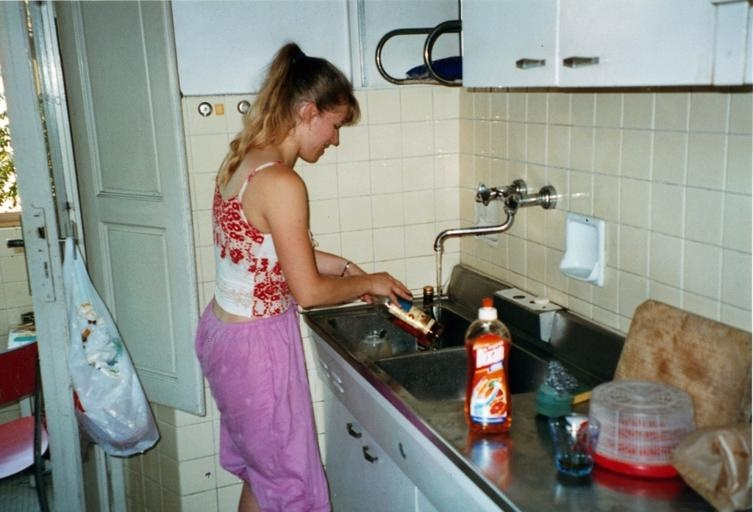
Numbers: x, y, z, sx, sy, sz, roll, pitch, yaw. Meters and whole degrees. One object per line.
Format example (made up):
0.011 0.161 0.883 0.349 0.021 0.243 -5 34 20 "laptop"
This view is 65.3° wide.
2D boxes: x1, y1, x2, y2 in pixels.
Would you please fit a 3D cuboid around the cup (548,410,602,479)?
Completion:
0.490 0.473 1.508 0.126 0.122 0.120 -4 4 0 "cup"

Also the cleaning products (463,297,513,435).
0.316 0.290 1.672 0.128 0.359 0.231 0 15 12 "cleaning products"

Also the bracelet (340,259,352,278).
-0.121 0.053 2.330 0.014 0.052 0.055 2 32 21 "bracelet"
